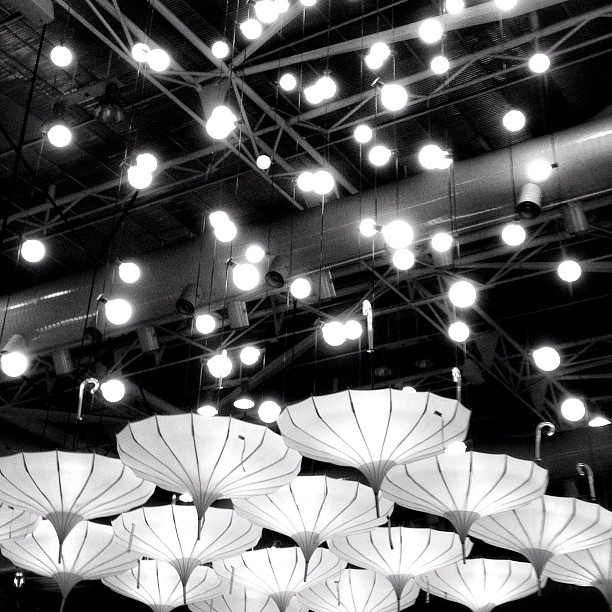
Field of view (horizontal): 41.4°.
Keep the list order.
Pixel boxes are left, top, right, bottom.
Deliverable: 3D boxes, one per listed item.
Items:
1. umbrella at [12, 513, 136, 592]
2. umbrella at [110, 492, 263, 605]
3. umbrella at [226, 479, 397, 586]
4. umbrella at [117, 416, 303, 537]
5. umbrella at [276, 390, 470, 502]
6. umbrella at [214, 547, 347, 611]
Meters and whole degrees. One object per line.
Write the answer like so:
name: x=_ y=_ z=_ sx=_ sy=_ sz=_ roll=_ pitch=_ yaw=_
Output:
umbrella: x=-3.739 y=3.885 z=12.971 sx=1.655 sy=0.829 sz=1.724 roll=-24 pitch=-49 yaw=37
umbrella: x=-1.829 y=3.450 z=12.180 sx=1.860 sy=0.968 sz=1.878 roll=-34 pitch=-54 yaw=27
umbrella: x=0.020 y=3.425 z=12.169 sx=3.016 sy=1.730 sz=3.224 roll=4 pitch=-14 yaw=-10
umbrella: x=-1.197 y=1.825 z=10.161 sx=1.596 sy=0.918 sz=1.809 roll=-4 pitch=-47 yaw=4
umbrella: x=0.796 y=1.884 z=9.815 sx=2.026 sy=0.951 sz=2.235 roll=7 pitch=-20 yaw=24
umbrella: x=-0.496 y=4.452 z=13.634 sx=1.531 sy=0.613 sz=1.708 roll=12 pitch=-41 yaw=-8
